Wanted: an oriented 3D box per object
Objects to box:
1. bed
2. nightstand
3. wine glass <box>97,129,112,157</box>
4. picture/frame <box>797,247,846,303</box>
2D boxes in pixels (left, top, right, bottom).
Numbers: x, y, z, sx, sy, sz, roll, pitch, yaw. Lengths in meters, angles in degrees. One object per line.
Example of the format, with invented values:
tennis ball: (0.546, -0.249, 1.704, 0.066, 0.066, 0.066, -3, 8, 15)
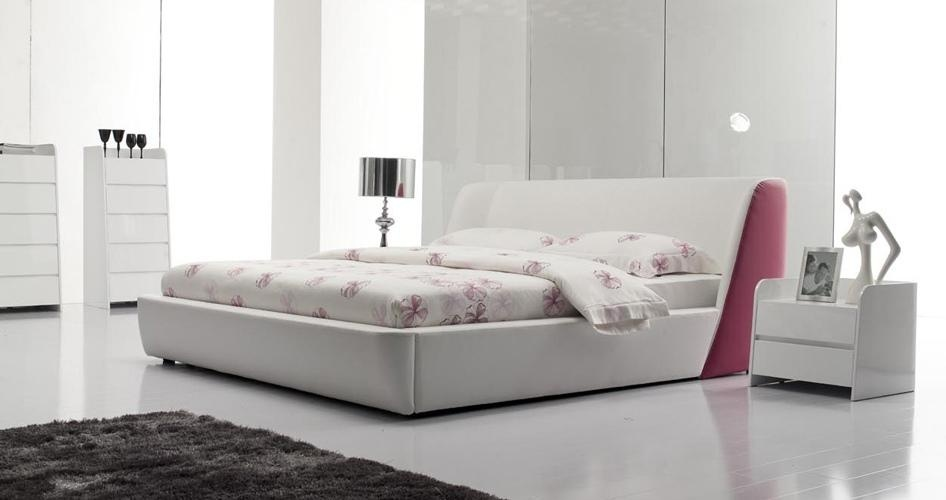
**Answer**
bed: (-0.165, 0.130, 4.935, 4.317, 1.461, 2.506, -2, 8, -26)
nightstand: (2.416, 0.613, 4.501, 0.836, 0.860, 1.108, 3, -4, -36)
wine glass: (-4.086, -1.194, 7.129, 0.125, 0.304, 0.532, -3, 9, -29)
picture/frame: (2.389, 0.184, 4.391, 0.025, 0.235, 0.360, 9, -20, -32)
